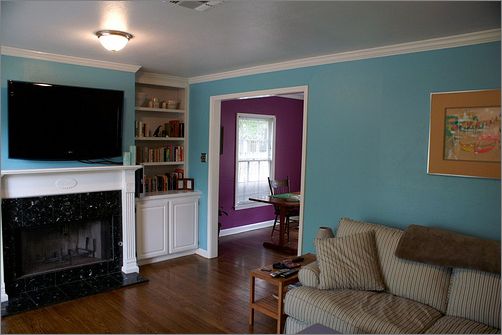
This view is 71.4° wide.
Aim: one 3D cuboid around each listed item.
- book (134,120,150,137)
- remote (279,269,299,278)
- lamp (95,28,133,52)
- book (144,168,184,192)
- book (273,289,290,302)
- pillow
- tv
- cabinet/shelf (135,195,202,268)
[{"bbox_3d":[-1.848,-0.652,5.917,0.270,0.256,0.154,-4,11,-33],"label":"book"},{"bbox_3d":[0.456,1.247,4.084,0.075,0.033,0.253,8,10,41],"label":"remote"},{"bbox_3d":[-1.579,-1.442,4.009,0.413,0.159,0.386,-1,-3,-40],"label":"lamp"},{"bbox_3d":[-1.586,0.230,6.178,0.845,0.341,0.404,-6,12,-41],"label":"book"},{"bbox_3d":[0.362,1.564,4.344,0.199,0.058,0.256,1,-2,29],"label":"book"},{"bbox_3d":[1.087,1.066,3.886,0.692,0.599,0.188,-6,-22,7],"label":"pillow"},{"bbox_3d":[-2.608,-0.647,4.771,1.284,0.869,0.134,-1,7,-32],"label":"tv"},{"bbox_3d":[-1.251,1.064,6.069,1.335,1.169,0.493,-11,-18,23],"label":"cabinet/shelf"}]
